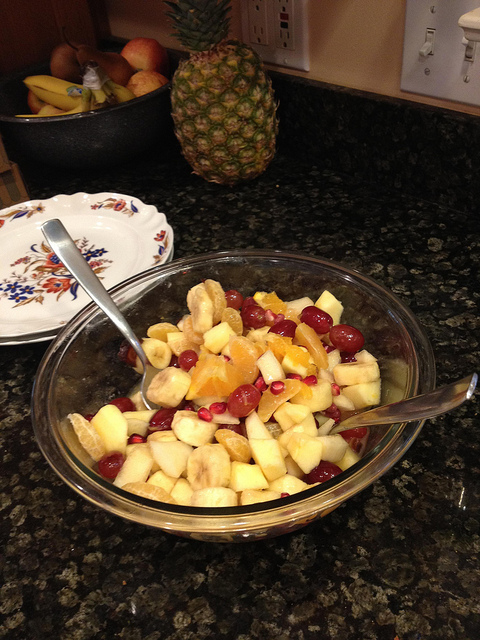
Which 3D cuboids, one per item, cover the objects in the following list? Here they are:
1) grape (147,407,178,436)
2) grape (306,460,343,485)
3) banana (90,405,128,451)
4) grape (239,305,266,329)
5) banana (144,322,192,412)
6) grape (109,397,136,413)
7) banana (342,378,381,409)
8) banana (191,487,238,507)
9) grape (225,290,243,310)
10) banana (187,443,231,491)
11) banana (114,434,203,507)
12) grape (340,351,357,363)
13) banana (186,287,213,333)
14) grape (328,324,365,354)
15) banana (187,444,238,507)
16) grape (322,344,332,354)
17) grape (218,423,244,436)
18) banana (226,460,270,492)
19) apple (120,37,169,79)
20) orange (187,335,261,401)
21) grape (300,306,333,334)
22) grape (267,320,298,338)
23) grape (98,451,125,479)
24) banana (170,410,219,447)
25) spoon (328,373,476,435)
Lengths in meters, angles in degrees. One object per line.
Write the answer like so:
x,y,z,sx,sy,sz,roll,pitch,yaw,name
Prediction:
-0.098,0.130,0.700,0.030,0.013,0.035,10,57,29,grape
0.095,0.168,0.606,0.036,0.021,0.039,-13,18,0,grape
-0.159,0.141,0.672,0.015,0.045,0.049,2,18,-45,banana
0.020,-0.004,0.802,0.037,0.032,0.042,-1,-5,-5,grape
-0.091,0.060,0.760,0.033,0.072,0.107,23,39,-37,banana
-0.161,0.117,0.751,0.026,0.017,0.019,0,-1,24,grape
0.156,0.094,0.682,0.042,0.035,0.041,-12,15,-32,banana
-0.026,0.181,0.558,0.033,0.011,0.030,0,19,1,banana
-0.009,-0.032,0.832,0.029,0.030,0.027,-12,24,-4,grape
-0.031,0.156,0.600,0.055,0.046,0.046,2,-4,13,banana
-0.089,0.165,0.627,0.084,0.071,0.034,11,-1,19,banana
0.148,0.051,0.754,0.017,0.009,0.015,-11,67,19,grape
-0.053,-0.012,0.797,0.030,0.073,0.112,-6,14,-5,banana
0.143,0.025,0.737,0.034,0.025,0.046,5,10,-31,grape
-0.031,0.164,0.582,0.047,0.061,0.026,-7,-8,18,banana
0.123,0.041,0.768,0.010,0.004,0.010,-7,50,3,grape
-0.009,0.133,0.674,0.019,0.011,0.021,2,7,-6,grape
0.009,0.172,0.599,0.035,0.011,0.031,-2,39,-12,banana
-0.245,-0.696,1.478,0.119,0.101,0.114,-8,26,-39,apple
-0.021,0.063,0.694,0.074,0.024,0.088,12,56,22,orange
0.105,0.001,0.745,0.034,0.023,0.023,30,11,-24,grape
0.057,0.009,0.745,0.033,0.017,0.021,-16,29,-30,grape
-0.150,0.171,0.650,0.025,0.015,0.030,15,45,14,grape
-0.054,0.140,0.684,0.044,0.027,0.043,22,15,-41,banana
0.119,0.101,0.576,0.040,0.315,0.039,20,71,-14,spoon
